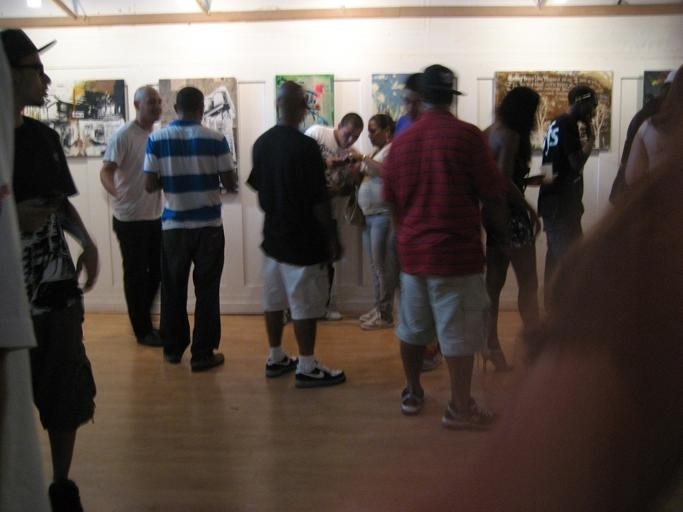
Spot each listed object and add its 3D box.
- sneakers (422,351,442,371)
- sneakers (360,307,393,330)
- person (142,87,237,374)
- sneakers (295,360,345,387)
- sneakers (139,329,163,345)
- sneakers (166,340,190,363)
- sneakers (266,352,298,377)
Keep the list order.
[{"bbox_3d":[0.510,0.591,3.215,0.062,0.080,0.177,-3,-9,20],"label":"sneakers"},{"bbox_3d":[0.239,0.473,4.365,0.306,0.145,0.109,1,3,-5],"label":"sneakers"},{"bbox_3d":[-0.870,-0.153,3.396,0.510,1.638,0.336,-2,4,-6],"label":"person"},{"bbox_3d":[-0.118,0.638,3.145,0.277,0.141,0.110,-1,-5,-11],"label":"sneakers"},{"bbox_3d":[-1.292,0.560,3.968,0.224,0.099,0.078,-10,-7,28],"label":"sneakers"},{"bbox_3d":[-1.007,0.595,3.567,0.104,0.124,0.120,4,8,3],"label":"sneakers"},{"bbox_3d":[-0.321,0.622,3.344,0.082,0.103,0.227,4,8,42],"label":"sneakers"}]
